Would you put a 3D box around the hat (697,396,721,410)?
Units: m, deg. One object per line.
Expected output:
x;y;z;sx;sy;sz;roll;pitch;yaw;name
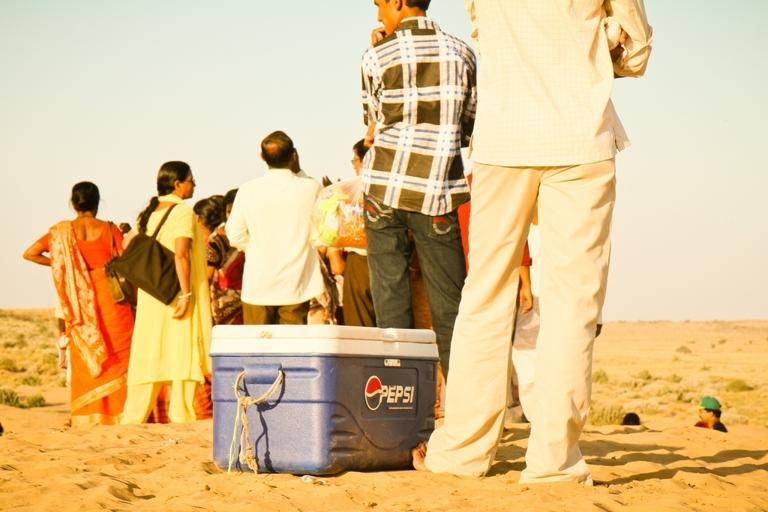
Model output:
4.405;1.971;14.455;0.247;0.253;0.364;1;-13;3;hat

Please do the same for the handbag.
-2.927;0.134;13.077;0.604;0.716;0.235;26;4;3;handbag
